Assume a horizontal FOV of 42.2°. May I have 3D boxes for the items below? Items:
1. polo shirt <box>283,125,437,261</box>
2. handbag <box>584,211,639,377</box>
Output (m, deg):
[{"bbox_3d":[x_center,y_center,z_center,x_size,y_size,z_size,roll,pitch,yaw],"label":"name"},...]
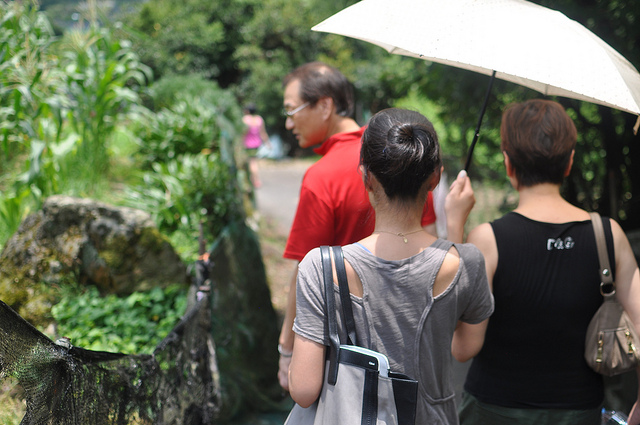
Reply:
[{"bbox_3d":[0.249,0.081,6.287,1.112,1.543,0.494,-14,27,-27],"label":"polo shirt"},{"bbox_3d":[2.012,0.561,5.695,0.364,1.098,0.190,2,3,18],"label":"handbag"}]
